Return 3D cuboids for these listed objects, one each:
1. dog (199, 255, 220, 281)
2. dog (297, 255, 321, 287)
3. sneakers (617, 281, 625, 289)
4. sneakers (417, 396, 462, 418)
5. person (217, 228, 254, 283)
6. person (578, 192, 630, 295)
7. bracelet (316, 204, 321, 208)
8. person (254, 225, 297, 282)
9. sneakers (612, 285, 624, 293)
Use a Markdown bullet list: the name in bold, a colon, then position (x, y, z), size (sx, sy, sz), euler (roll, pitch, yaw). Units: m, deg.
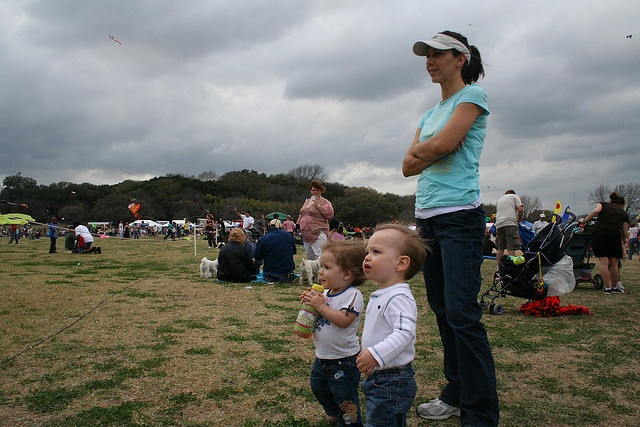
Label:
- **dog**: position (-2.746, 1.349, 10.263), size (0.396, 0.494, 0.906), euler (1, -3, -14)
- **dog**: position (-0.199, 1.267, 9.715), size (0.335, 0.790, 0.982), euler (-4, -4, 23)
- **sneakers**: position (6.083, 1.436, 8.396), size (0.134, 0.167, 0.394), euler (1, -1, 36)
- **sneakers**: position (1.191, 1.959, 4.162), size (0.407, 0.172, 0.176), euler (3, -4, -3)
- **person**: position (-1.968, 0.987, 9.762), size (0.867, 1.243, 0.421), euler (1, -3, -14)
- **person**: position (5.650, 0.562, 8.201), size (1.071, 2.019, 0.543), euler (2, -3, -38)
- **bracelet**: position (-0.035, -0.168, 8.889), size (0.107, 0.070, 0.021), euler (-2, -3, 31)
- **person**: position (-1.019, 1.013, 10.082), size (1.065, 1.640, 1.209), euler (0, -4, -4)
- **sneakers**: position (5.907, 1.506, 8.274), size (0.298, 0.131, 0.120), euler (0, 2, -4)
